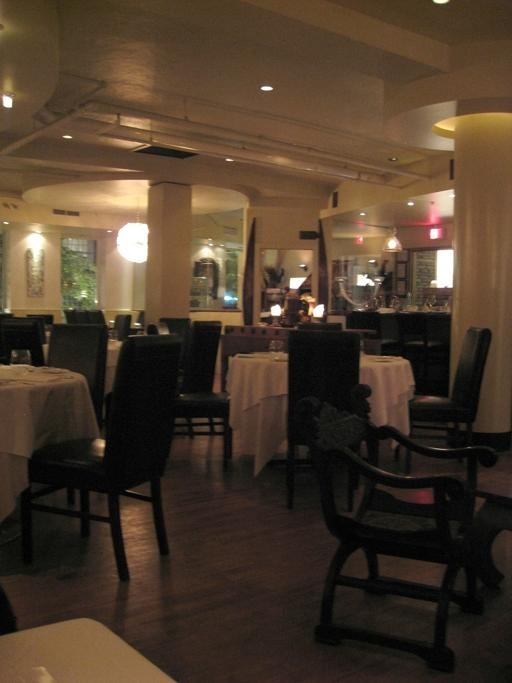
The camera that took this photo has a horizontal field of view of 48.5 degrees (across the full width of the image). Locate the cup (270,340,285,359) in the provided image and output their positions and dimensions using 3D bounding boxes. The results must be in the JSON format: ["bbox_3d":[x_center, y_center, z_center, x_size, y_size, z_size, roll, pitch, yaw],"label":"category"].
[{"bbox_3d":[0.160,0.056,4.087,0.128,0.126,0.120,-1,0,0],"label":"cup"}]

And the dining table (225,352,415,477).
[{"bbox_3d":[0.449,0.427,3.987,1.078,0.593,1.012,1,0,-9],"label":"dining table"}]

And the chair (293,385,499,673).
[{"bbox_3d":[0.499,0.603,1.984,0.567,0.730,0.551,1,-1,27],"label":"chair"}]

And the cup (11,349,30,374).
[{"bbox_3d":[-1.267,0.103,3.083,0.109,0.110,0.104,0,3,0],"label":"cup"}]

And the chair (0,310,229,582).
[{"bbox_3d":[-0.692,0.480,2.582,0.582,1.023,0.450,2,2,22],"label":"chair"}]
